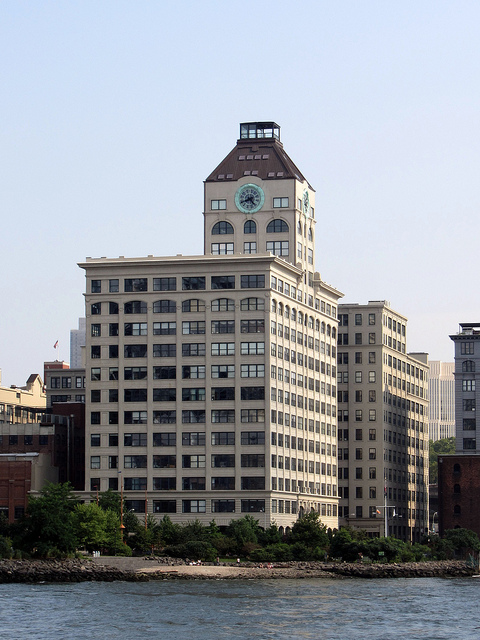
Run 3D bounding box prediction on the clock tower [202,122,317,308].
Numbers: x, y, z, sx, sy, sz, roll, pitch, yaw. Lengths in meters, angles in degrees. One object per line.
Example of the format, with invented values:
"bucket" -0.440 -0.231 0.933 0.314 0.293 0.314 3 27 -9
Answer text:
"clock tower" 2.115 -12.986 261.887 11.862 26.922 11.418 0 -8 5
